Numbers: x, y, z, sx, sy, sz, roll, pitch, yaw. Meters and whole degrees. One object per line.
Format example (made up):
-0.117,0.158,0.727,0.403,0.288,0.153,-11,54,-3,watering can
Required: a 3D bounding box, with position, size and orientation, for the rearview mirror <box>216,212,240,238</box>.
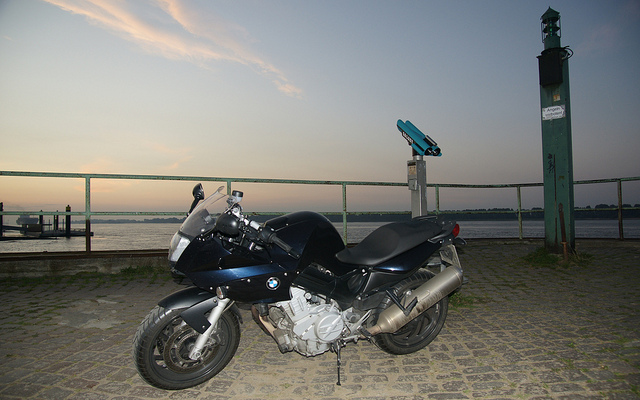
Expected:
-1.000,0.265,4.219,0.269,0.226,0.190,13,8,-5,rearview mirror
